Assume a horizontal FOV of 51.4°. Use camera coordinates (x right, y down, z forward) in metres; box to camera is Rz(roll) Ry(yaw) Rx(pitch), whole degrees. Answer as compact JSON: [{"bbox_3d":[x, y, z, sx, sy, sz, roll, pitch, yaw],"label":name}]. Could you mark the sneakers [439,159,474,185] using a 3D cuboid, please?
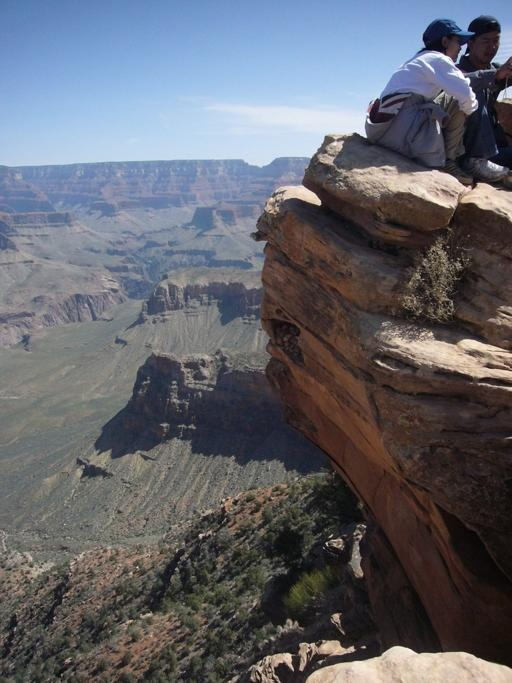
[{"bbox_3d":[2.849,-2.374,7.521,0.545,0.230,0.187,43,54,9],"label":"sneakers"}]
